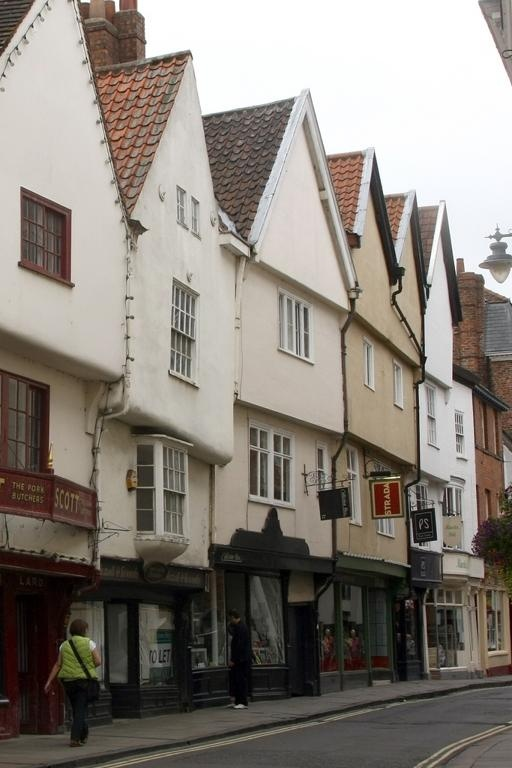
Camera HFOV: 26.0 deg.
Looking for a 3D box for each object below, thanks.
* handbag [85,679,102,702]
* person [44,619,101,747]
[{"bbox_3d":[-1.854,3.460,12.610,0.123,0.241,0.315,-2,-17,-3],"label":"handbag"},{"bbox_3d":[-2.197,3.602,13.275,0.575,1.438,1.960,0,-18,-11],"label":"person"}]
